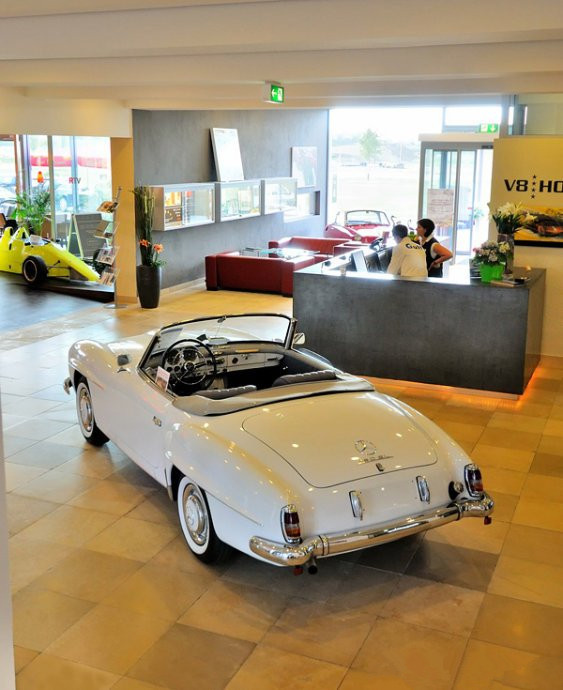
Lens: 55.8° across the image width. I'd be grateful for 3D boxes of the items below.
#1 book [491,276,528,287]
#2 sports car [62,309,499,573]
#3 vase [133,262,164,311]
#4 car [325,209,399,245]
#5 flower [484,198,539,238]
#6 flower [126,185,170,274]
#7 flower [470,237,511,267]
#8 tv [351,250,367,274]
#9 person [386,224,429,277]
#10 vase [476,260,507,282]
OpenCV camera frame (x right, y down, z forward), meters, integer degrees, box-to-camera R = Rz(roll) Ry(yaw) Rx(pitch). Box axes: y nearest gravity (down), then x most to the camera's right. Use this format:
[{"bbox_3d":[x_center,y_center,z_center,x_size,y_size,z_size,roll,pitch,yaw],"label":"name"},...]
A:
[{"bbox_3d":[2.710,-0.738,6.259,0.524,0.143,0.308,-1,5,-29],"label":"book"},{"bbox_3d":[-0.284,0.636,3.500,1.408,0.854,2.952,-11,23,-32],"label":"sports car"},{"bbox_3d":[-2.778,-1.218,11.022,0.465,0.924,0.344,0,4,-14],"label":"vase"},{"bbox_3d":[2.639,-3.589,17.339,1.828,1.136,3.060,-5,16,-11],"label":"car"},{"bbox_3d":[3.001,-1.616,6.778,0.752,0.442,0.648,-5,15,-21],"label":"flower"},{"bbox_3d":[-2.841,-2.513,11.234,0.609,1.760,1.284,0,4,-15],"label":"flower"},{"bbox_3d":[2.598,-1.137,6.435,0.451,0.366,0.401,1,4,-2],"label":"flower"},{"bbox_3d":[1.232,-1.350,8.445,0.223,0.350,0.255,2,4,6],"label":"tv"},{"bbox_3d":[1.643,-1.227,6.924,0.471,0.769,0.866,2,4,11],"label":"person"},{"bbox_3d":[2.537,-0.890,6.404,0.284,0.187,0.266,-1,17,0],"label":"vase"}]
